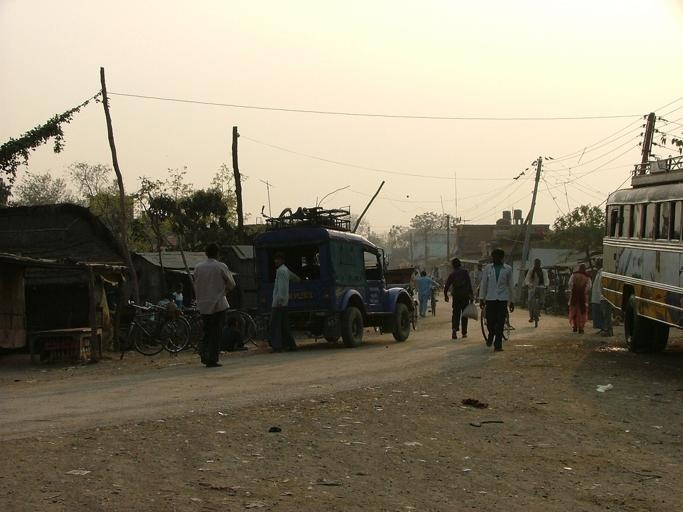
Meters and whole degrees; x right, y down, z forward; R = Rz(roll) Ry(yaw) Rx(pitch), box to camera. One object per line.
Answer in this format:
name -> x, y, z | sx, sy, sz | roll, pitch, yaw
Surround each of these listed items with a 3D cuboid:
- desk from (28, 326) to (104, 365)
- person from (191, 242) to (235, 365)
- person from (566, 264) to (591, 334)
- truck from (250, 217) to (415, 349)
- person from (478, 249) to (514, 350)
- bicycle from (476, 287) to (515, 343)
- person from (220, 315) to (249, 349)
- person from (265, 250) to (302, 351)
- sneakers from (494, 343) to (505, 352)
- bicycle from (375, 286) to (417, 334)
desk -> -6.778, 2.198, 16.192 | 1.806, 0.879, 0.840 | 0, 0, 1
person -> -2.627, 1.044, 13.640 | 0.750, 2.563, 0.795 | 0, 0, -16
person -> 7.620, 1.373, 21.002 | 0.642, 2.217, 1.563 | 0, 0, 21
truck -> -0.076, 0.840, 19.647 | 2.870, 3.656, 5.749 | -5, -5, 26
person -> 3.688, 1.060, 15.676 | 0.775, 2.411, 1.206 | 0, 0, 14
bicycle -> 4.119, 1.665, 17.726 | 2.077, 1.381, 0.979 | 8, -9, -40
person -> -2.896, 2.131, 17.775 | 0.725, 1.005, 0.710 | 13, 16, 17
person -> -1.454, 1.223, 16.540 | 0.687, 2.491, 1.223 | 0, 0, 2
sneakers -> 3.733, 2.187, 15.555 | 0.110, 0.218, 0.298 | 3, 5, 30
bicycle -> 1.712, 1.752, 20.364 | 0.984, 0.972, 1.892 | 1, 2, 27
